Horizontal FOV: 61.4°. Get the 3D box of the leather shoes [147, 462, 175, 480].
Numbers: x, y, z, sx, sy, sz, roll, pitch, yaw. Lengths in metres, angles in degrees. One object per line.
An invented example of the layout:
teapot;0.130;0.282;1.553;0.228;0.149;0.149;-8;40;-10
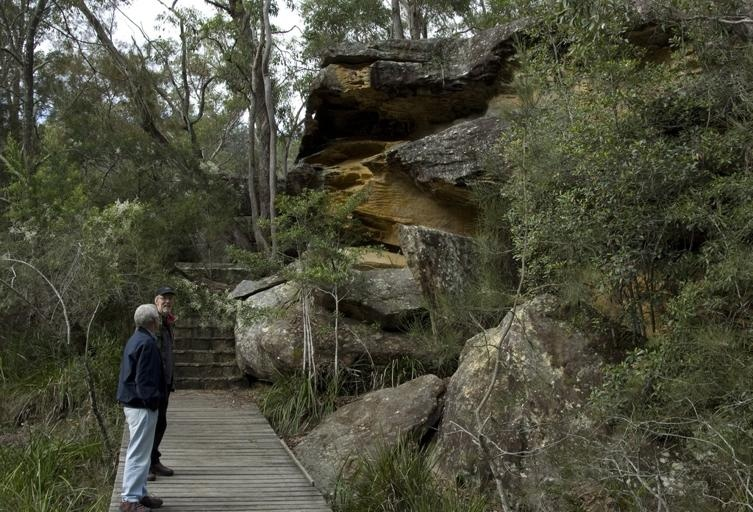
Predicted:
leather shoes;-2.976;2.979;8.794;0.355;0.184;0.145;0;-2;-16
